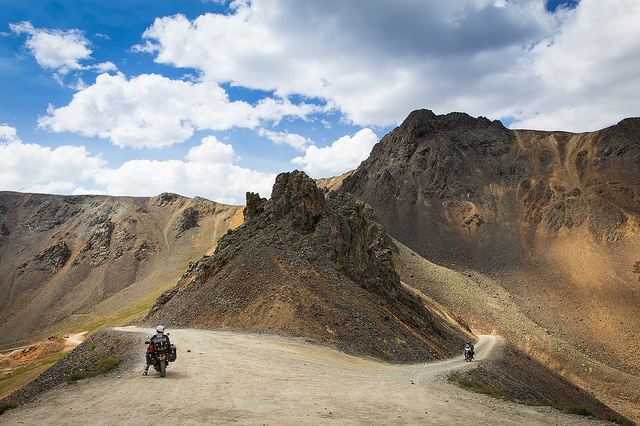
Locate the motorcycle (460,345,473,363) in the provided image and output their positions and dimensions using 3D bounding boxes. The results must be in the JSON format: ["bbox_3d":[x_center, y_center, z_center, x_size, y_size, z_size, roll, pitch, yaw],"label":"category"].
[{"bbox_3d":[27.178,26.613,78.903,1.429,1.538,2.543,-8,-44,18],"label":"motorcycle"}]
